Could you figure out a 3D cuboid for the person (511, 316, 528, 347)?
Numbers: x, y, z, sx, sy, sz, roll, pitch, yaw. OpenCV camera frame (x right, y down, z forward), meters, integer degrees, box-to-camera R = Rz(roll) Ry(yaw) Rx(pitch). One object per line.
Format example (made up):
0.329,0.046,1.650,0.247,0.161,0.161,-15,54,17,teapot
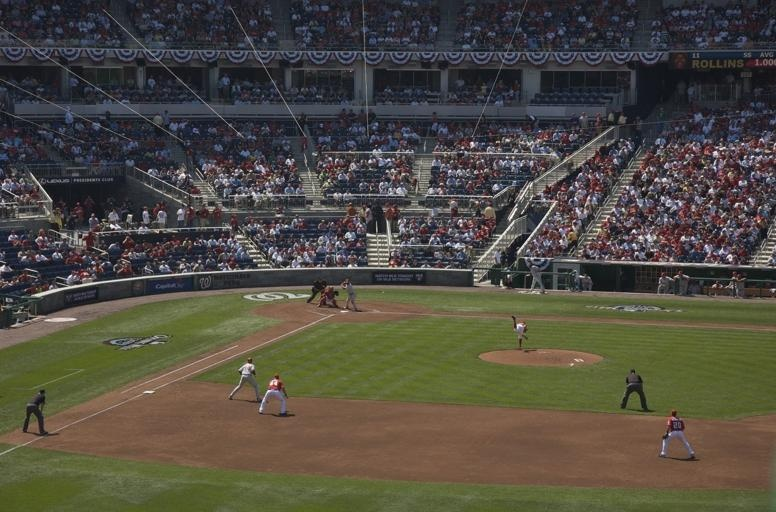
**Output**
7.734,4.418,91.831,1.111,0.748,1.952,-7,-14,6,person
